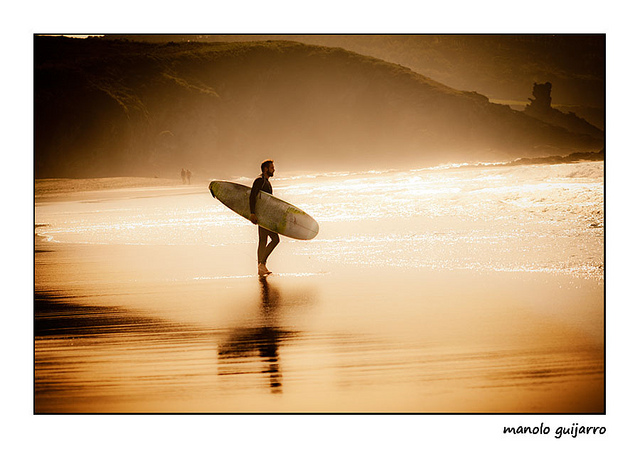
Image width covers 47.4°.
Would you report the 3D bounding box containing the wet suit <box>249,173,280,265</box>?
[{"bbox_3d":[-0.842,-0.096,11.134,0.426,1.388,0.204,2,0,21],"label":"wet suit"}]
